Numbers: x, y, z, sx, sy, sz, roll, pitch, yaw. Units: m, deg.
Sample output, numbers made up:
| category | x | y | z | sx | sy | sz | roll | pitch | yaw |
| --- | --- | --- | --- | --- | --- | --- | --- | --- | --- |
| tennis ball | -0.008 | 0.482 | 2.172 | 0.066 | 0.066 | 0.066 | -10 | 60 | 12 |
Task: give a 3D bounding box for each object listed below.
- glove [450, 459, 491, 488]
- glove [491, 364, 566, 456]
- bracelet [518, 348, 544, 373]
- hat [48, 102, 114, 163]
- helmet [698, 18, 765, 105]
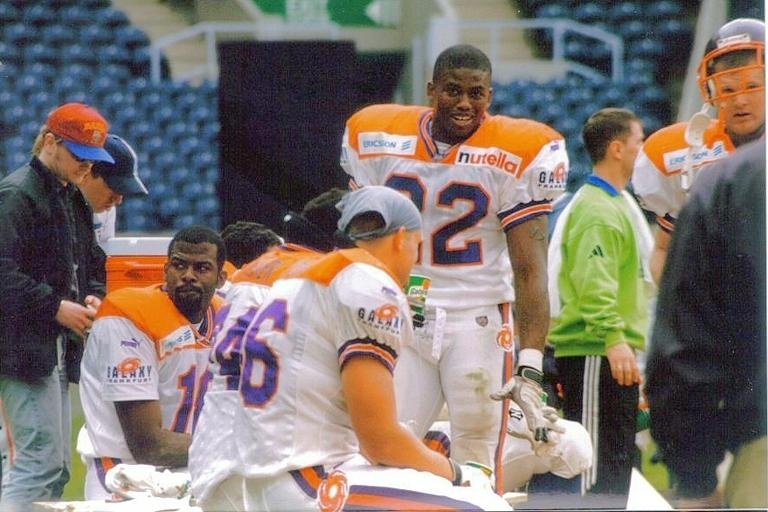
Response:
| category | x | y | z | sx | sy | sz | roll | pitch | yaw |
| --- | --- | --- | --- | --- | --- | --- | --- | --- | --- |
| glove | 0.411 | 1.113 | 7.828 | 0.211 | 0.086 | 0.128 | 20 | 32 | -35 |
| glove | 0.765 | 0.803 | 8.183 | 0.410 | 0.415 | 0.136 | 29 | 33 | 36 |
| bracelet | 0.768 | 0.559 | 8.296 | 0.128 | 0.109 | 0.112 | -4 | -10 | 23 |
| hat | -1.681 | -0.696 | 8.851 | 0.375 | 0.207 | 0.249 | 33 | 12 | 4 |
| helmet | 2.024 | -1.084 | 8.971 | 0.373 | 0.384 | 0.474 | -25 | -11 | 24 |
